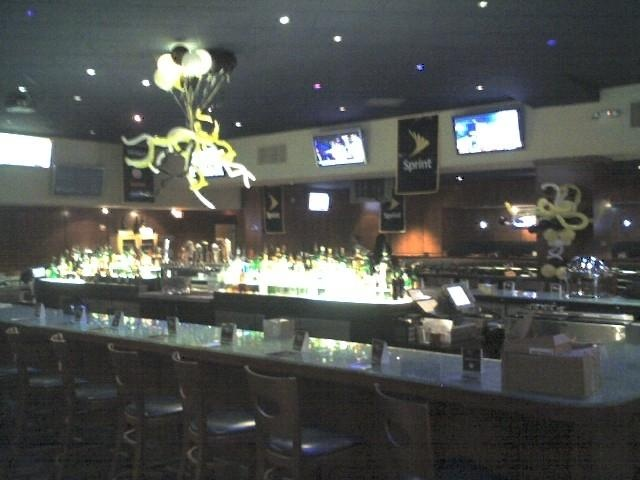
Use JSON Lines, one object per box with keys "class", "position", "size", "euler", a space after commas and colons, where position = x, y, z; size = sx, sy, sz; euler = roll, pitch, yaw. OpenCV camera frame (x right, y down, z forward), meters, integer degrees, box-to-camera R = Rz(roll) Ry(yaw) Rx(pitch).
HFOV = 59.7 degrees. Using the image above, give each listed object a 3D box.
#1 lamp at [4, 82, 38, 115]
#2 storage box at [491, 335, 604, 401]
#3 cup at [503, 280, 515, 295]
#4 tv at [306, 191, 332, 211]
{"class": "lamp", "position": [-4.005, -1.857, 7.465], "size": [0.335, 0.313, 0.338], "euler": [2, 6, 10]}
{"class": "storage box", "position": [1.438, 0.795, 3.515], "size": [0.409, 0.270, 0.441], "euler": [-2, -4, 23]}
{"class": "cup", "position": [2.745, 0.710, 8.109], "size": [0.129, 0.243, 0.131], "euler": [1, -4, 0]}
{"class": "tv", "position": [-0.018, -0.985, 14.543], "size": [0.515, 0.492, 0.119], "euler": [6, -1, -44]}
